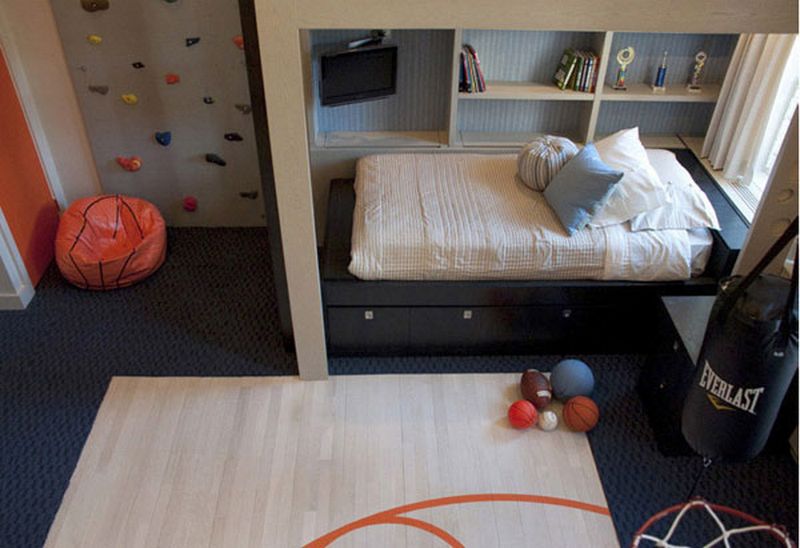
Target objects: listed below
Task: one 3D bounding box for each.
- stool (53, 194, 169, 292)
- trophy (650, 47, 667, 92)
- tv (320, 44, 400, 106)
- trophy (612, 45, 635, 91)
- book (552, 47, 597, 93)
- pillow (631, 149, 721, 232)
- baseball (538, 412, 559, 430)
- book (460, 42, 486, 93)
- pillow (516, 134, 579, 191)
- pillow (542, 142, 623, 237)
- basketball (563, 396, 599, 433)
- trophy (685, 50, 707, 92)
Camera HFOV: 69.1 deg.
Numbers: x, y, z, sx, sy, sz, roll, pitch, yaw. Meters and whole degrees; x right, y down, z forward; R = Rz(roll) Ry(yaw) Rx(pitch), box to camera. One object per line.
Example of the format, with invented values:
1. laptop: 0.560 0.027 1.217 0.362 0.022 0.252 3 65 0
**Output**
1. stool: -2.097 -0.242 4.253 0.692 0.424 0.572 -9 43 -12
2. trophy: 1.928 -1.488 4.269 0.099 0.213 0.268 17 44 18
3. tv: -0.311 -1.457 4.196 0.471 0.350 0.051 -6 40 -10
4. trophy: 1.637 -1.526 4.276 0.132 0.259 0.249 16 43 16
5. book: 1.281 -1.491 4.251 0.275 0.258 0.286 4 41 3
6. pillow: 1.802 -0.492 3.719 0.516 0.193 0.781 18 44 17
7. baseball: 0.866 0.861 3.386 0.103 0.104 0.103 -20 68 16
8. book: 0.524 -1.457 4.144 0.090 0.315 0.229 -10 5 16
9. pillow: 0.980 -0.791 3.940 0.369 0.294 0.375 5 37 7
10. pillow: 1.115 -0.521 3.629 0.351 0.326 0.384 -16 44 -19
11. basketball: 1.034 0.800 3.413 0.195 0.209 0.197 11 -3 -28
12. trophy: 2.187 -1.489 4.261 0.117 0.219 0.279 19 45 20
